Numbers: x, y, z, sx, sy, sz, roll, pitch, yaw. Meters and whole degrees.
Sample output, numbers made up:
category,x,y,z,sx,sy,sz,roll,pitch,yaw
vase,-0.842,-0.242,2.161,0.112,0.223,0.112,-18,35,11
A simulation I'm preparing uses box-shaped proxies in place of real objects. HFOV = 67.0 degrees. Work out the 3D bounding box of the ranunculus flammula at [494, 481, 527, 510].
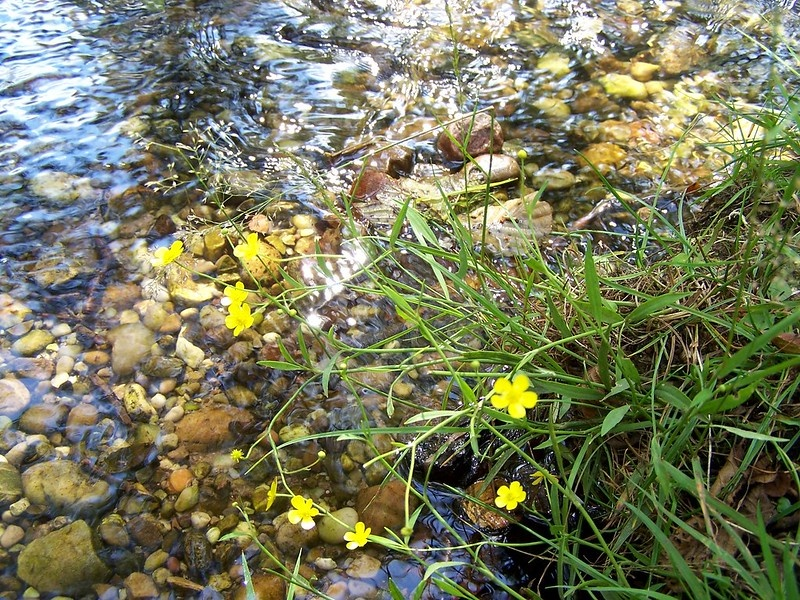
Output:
category,x,y,z,sx,sy,sz,roll,pitch,yaw
ranunculus flammula,0.336,0.585,1.842,0.122,0.041,0.109,-7,66,14
